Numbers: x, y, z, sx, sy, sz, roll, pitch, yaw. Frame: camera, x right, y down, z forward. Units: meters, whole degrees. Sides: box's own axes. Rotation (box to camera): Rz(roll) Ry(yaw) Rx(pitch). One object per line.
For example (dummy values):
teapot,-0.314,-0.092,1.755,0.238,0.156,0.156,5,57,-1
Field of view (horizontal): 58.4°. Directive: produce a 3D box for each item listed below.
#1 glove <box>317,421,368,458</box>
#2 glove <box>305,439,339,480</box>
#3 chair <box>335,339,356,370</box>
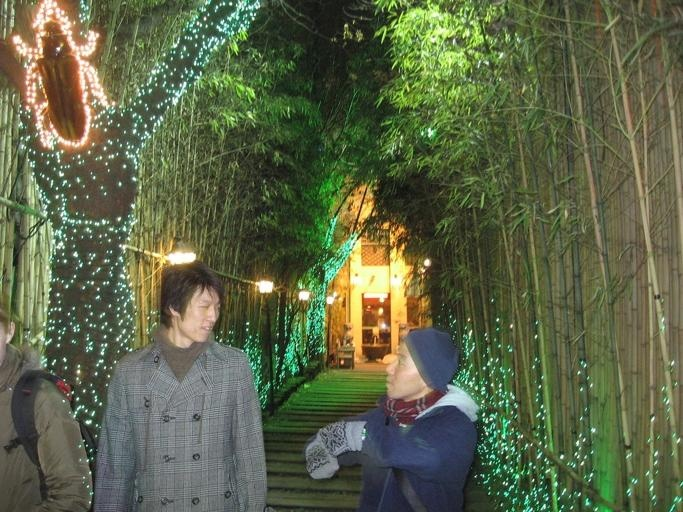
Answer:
glove,0.004,0.681,2.293,0.210,0.193,0.127,-7,-15,14
glove,-0.066,0.756,2.333,0.057,0.141,0.184,12,-39,-16
chair,0.116,3.177,19.671,0.529,0.967,0.919,1,-2,5
